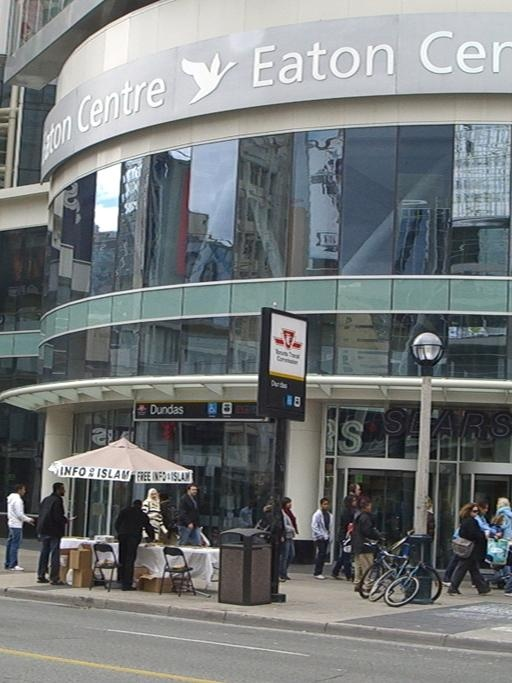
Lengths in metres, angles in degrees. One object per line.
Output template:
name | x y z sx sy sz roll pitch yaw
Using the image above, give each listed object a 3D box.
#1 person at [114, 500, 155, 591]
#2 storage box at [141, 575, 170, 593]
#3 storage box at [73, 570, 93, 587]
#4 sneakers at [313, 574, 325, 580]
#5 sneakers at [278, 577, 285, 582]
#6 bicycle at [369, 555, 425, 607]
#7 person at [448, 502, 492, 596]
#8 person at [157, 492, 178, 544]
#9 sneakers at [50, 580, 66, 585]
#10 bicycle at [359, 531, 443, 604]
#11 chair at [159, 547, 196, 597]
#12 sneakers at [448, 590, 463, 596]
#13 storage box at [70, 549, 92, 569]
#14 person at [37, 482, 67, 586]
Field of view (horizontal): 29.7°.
person | -2.008 3.342 15.915 0.638 1.458 0.648 3 -9 -6
storage box | -1.635 3.933 15.710 0.374 0.168 0.353 -4 -8 43
storage box | -2.876 3.915 16.016 0.298 0.281 0.171 3 -9 -8
sneakers | 1.251 4.683 19.246 0.187 0.065 0.070 -6 -8 41
sneakers | 0.489 4.525 18.426 0.071 0.067 0.175 1 -10 -12
bicycle | 2.140 3.674 14.831 0.695 0.674 1.037 2 -9 -5
person | 3.619 3.544 16.495 0.678 1.553 1.149 0 -9 12
person | -2.030 4.024 22.245 0.755 0.846 0.367 -2 2 -3
sneakers | -3.352 4.073 16.403 0.219 0.077 0.088 3 0 -20
bicycle | 2.268 3.544 15.034 0.823 0.947 1.713 16 -20 -31
chair | -1.235 3.674 15.609 0.549 0.762 0.837 2 -9 -4
sneakers | 3.380 4.234 16.353 0.282 0.099 0.086 -1 -3 -9
storage box | -2.926 3.583 16.129 0.447 0.379 0.315 6 -11 -37
person | -3.504 3.280 16.631 0.483 1.695 0.842 4 -10 -12
